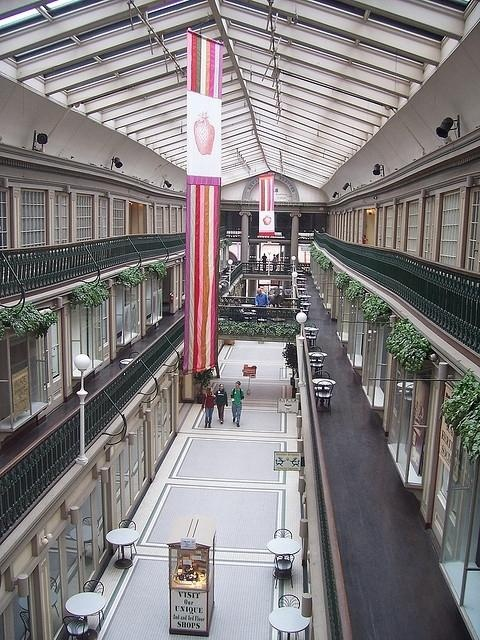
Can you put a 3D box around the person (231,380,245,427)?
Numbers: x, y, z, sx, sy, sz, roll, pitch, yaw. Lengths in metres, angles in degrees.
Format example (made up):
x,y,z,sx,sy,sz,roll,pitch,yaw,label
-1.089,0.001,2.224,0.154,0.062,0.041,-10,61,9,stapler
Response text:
x,y,z,sx,sy,sz,roll,pitch,yaw,label
-0.144,4.117,19.952,0.481,2.265,1.044,0,3,-5,person

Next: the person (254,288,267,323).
x,y,z,sx,sy,sz,roll,pitch,yaw,label
1.316,-0.927,23.999,0.633,1.980,1.424,0,3,4,person

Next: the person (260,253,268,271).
x,y,z,sx,sy,sz,roll,pitch,yaw,label
2.418,-5.639,39.720,0.570,1.622,0.527,0,3,2,person

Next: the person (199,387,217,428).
x,y,z,sx,sy,sz,roll,pitch,yaw,label
-1.479,4.123,19.714,0.589,2.188,0.570,4,17,-7,person
